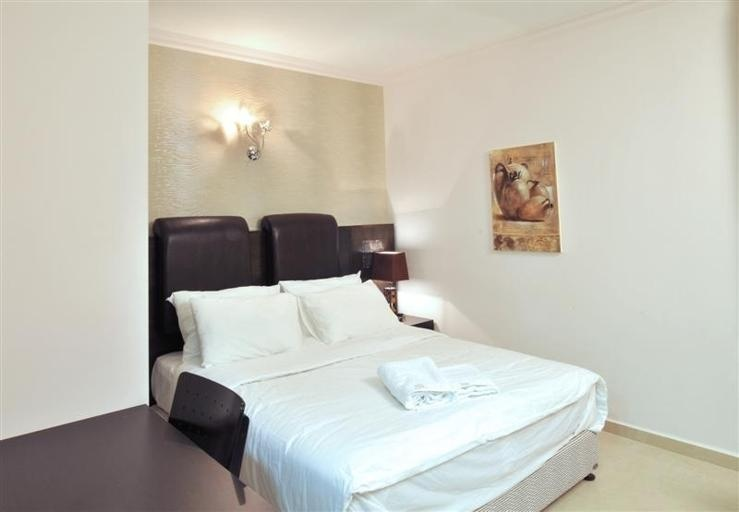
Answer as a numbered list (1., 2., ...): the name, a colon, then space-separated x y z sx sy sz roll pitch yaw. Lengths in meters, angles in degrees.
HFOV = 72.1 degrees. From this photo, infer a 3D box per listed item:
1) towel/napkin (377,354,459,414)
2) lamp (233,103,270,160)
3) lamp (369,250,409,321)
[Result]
1. towel/napkin: 0.273 0.740 2.976 0.360 0.185 0.391 -3 4 -16
2. lamp: -1.009 -1.075 4.445 0.338 0.467 0.110 -4 6 -25
3. lamp: 0.208 0.216 5.172 0.333 0.796 0.329 -6 35 5
